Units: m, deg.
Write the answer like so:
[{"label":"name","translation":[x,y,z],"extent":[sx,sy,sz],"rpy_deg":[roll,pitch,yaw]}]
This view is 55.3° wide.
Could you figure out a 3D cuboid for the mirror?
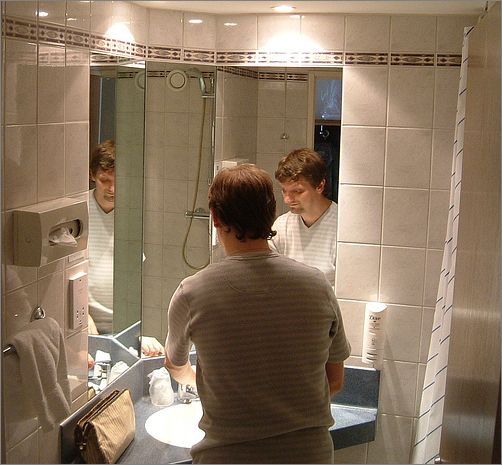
[{"label":"mirror","translation":[-0.134,-0.187,1.803],"extent":[1.163,1.553,0.139],"rpy_deg":[0,2,-4]}]

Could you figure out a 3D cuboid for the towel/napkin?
[{"label":"towel/napkin","translation":[-0.593,0.399,1.385],"extent":[0.084,0.271,0.253],"rpy_deg":[-6,17,13]}]

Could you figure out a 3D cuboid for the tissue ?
[{"label":"tissue ","translation":[-0.596,-0.010,1.459],"extent":[0.113,0.184,0.283],"rpy_deg":[0,6,6]}]
